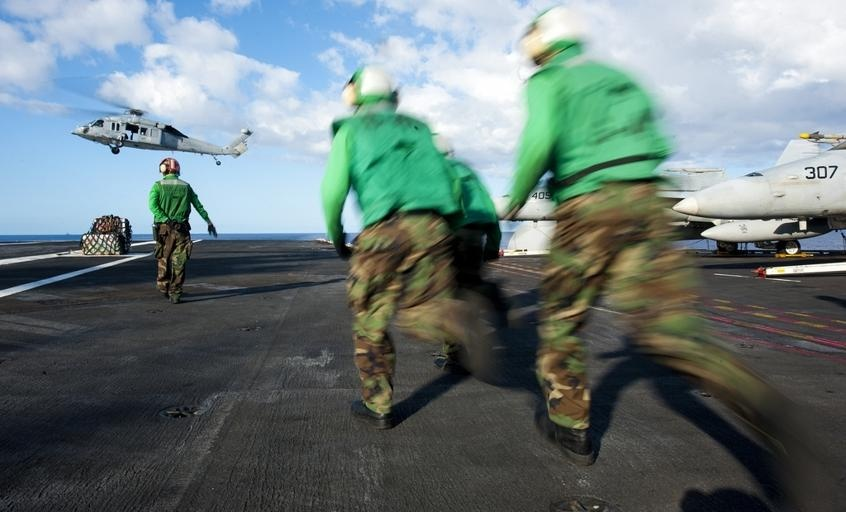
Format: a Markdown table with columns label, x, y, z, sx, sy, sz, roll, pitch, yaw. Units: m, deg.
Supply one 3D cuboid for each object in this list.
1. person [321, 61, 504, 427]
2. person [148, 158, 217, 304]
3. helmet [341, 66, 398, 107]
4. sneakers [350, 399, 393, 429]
| label | x | y | z | sx | sy | sz | roll | pitch | yaw |
| --- | --- | --- | --- | --- | --- | --- | --- | --- | --- |
| person | -0.126 | 0.091 | 3.005 | 1.085 | 2.049 | 0.408 | 1 | 11 | 4 |
| person | -3.729 | -0.378 | 6.784 | 0.614 | 2.079 | 0.759 | -1 | 11 | -9 |
| helmet | -0.339 | -1.154 | 3.186 | 0.386 | 0.260 | 0.261 | 10 | 15 | 26 |
| sneakers | -0.355 | 1.054 | 3.145 | 0.352 | 0.119 | 0.129 | 17 | 13 | 41 |
